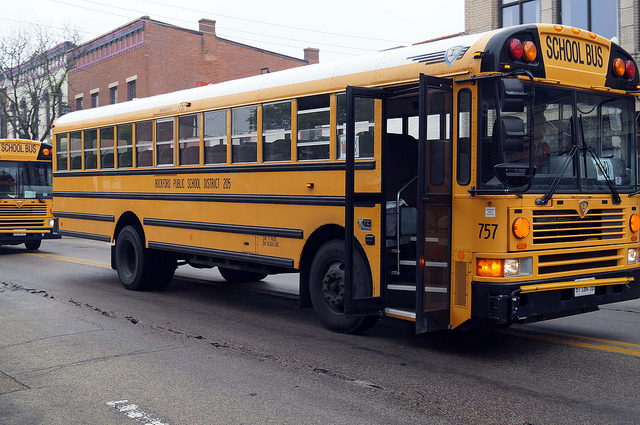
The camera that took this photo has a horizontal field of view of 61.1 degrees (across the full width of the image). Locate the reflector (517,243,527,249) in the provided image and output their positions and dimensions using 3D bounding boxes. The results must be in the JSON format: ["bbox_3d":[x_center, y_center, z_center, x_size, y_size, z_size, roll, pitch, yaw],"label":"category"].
[{"bbox_3d":[2.521,0.427,6.789,0.151,0.076,0.006,-3,5,-24],"label":"reflector"}]

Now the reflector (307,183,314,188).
[{"bbox_3d":[-0.142,-0.411,8.325,0.124,0.069,0.016,3,6,34],"label":"reflector"}]

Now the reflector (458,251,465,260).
[{"bbox_3d":[1.813,0.558,6.987,0.013,0.096,0.093,-10,-3,-37],"label":"reflector"}]

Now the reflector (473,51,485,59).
[{"bbox_3d":[1.990,-1.976,6.795,0.098,0.050,0.101,0,-3,6],"label":"reflector"}]

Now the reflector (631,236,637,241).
[{"bbox_3d":[4.462,0.379,7.747,0.066,0.066,0.018,4,-1,8],"label":"reflector"}]

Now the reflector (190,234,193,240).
[{"bbox_3d":[-2.440,0.481,10.346,0.057,0.082,0.019,2,-4,23],"label":"reflector"}]
